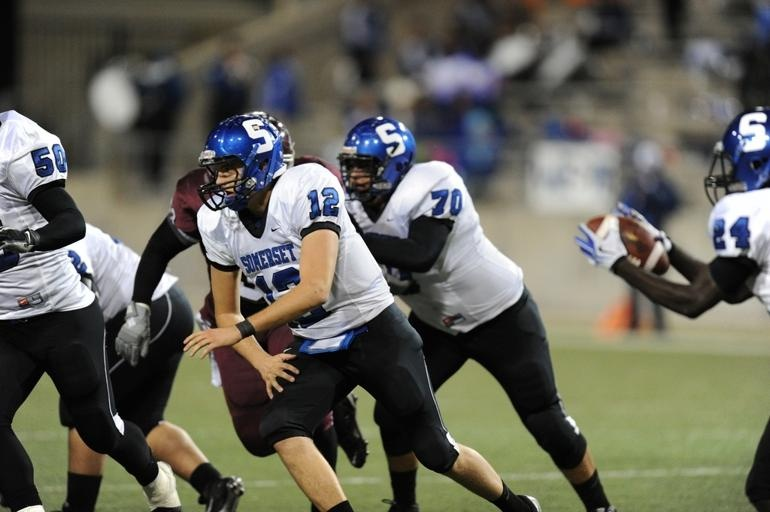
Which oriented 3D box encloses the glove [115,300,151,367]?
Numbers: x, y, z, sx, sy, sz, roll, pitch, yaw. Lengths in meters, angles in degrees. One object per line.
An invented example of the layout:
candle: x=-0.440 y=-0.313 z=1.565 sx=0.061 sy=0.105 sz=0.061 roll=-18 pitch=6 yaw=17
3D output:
glove: x=-1.416 y=0.436 z=5.564 sx=0.212 sy=0.334 sz=0.101 roll=13 pitch=-4 yaw=18

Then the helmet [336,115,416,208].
helmet: x=-0.073 y=-0.564 z=5.841 sx=0.512 sy=0.450 sz=0.430 roll=-18 pitch=5 yaw=-21

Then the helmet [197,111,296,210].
helmet: x=-0.722 y=-0.511 z=5.259 sx=0.537 sy=0.488 sz=0.411 roll=-9 pitch=1 yaw=-24

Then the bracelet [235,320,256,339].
bracelet: x=-0.712 y=0.371 z=4.946 sx=0.097 sy=0.097 sz=0.032 roll=-26 pitch=-5 yaw=1

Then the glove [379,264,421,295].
glove: x=0.072 y=0.145 z=5.703 sx=0.212 sy=0.193 sz=0.157 roll=6 pitch=16 yaw=-11

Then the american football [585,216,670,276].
american football: x=1.360 y=-0.058 z=5.439 sx=0.449 sy=0.293 sz=0.146 roll=27 pitch=-30 yaw=-8
